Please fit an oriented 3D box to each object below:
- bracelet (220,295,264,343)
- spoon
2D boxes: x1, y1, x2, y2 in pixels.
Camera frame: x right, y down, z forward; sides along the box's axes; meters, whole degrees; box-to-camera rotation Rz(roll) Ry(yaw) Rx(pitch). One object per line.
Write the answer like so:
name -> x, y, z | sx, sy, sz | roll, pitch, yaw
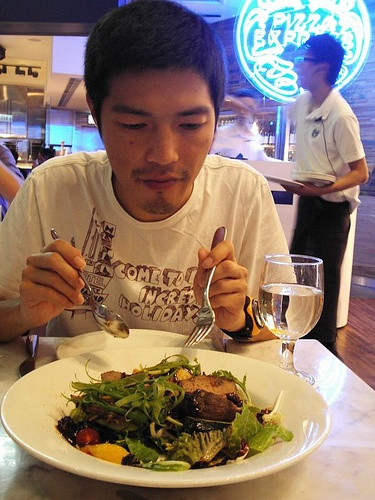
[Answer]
bracelet -> 0.170, 0.189, 1.190 | 0.106, 0.139, 0.053 | -21, 11, 35
spoon -> -0.293, 0.103, 1.212 | 0.082, 0.410, 0.060 | -23, -13, -45
